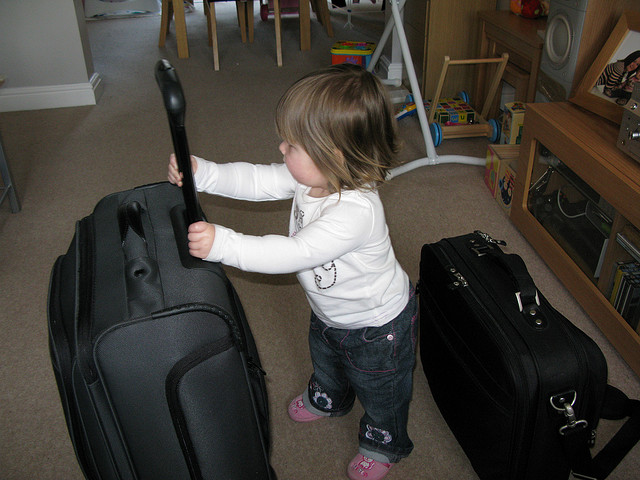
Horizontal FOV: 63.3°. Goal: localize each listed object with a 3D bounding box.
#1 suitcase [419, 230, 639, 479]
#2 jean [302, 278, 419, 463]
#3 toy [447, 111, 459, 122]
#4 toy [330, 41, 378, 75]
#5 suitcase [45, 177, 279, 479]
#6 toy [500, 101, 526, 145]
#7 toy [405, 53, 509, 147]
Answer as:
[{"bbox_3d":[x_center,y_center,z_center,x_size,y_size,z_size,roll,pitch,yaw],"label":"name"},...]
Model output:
[{"bbox_3d":[0.441,0.282,1.237,0.243,0.493,0.534,-10,34,-9],"label":"suitcase"},{"bbox_3d":[0.106,0.332,1.289,0.138,0.363,0.287,-25,48,-21],"label":"jean"},{"bbox_3d":[0.724,-0.659,2.785,0.043,0.053,0.049,-1,43,4],"label":"toy"},{"bbox_3d":[0.237,-1.287,3.606,0.287,0.113,0.194,7,36,15],"label":"toy"},{"bbox_3d":[-0.315,0.208,1.071,0.315,0.616,0.447,-12,46,-8],"label":"suitcase"},{"bbox_3d":[0.928,-0.539,2.496,0.088,0.196,0.241,7,36,17],"label":"toy"},{"bbox_3d":[0.744,-0.834,2.886,0.399,0.470,0.587,-2,30,-3],"label":"toy"}]
